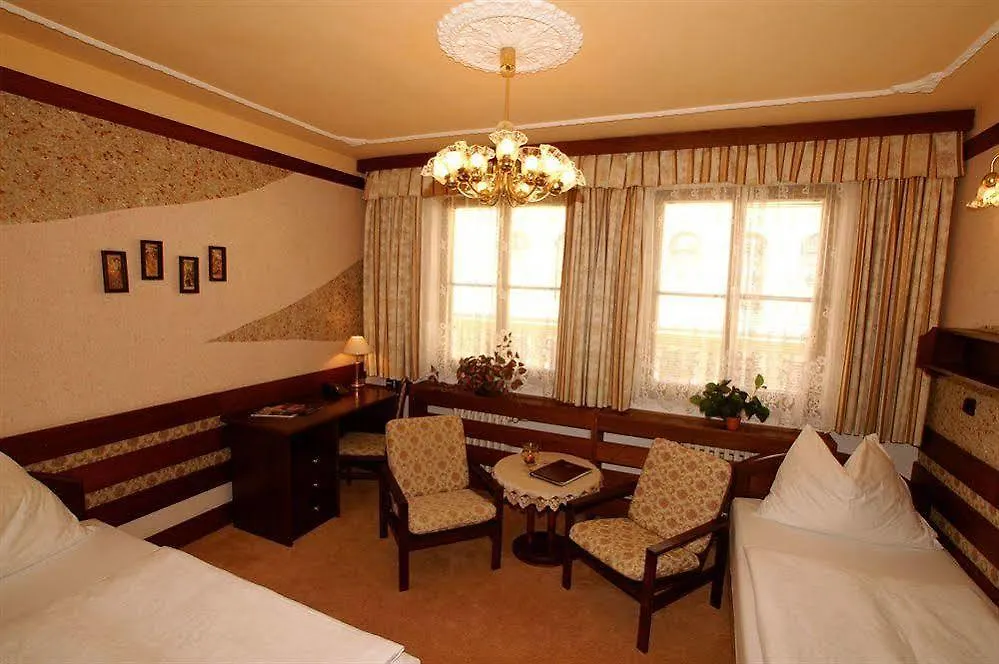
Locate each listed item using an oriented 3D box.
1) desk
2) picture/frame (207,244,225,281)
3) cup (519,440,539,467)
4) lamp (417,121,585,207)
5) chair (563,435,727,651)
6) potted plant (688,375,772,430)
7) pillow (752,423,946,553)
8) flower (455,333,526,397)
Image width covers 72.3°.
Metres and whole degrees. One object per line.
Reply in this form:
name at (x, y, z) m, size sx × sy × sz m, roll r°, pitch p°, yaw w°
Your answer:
desk at (-1.822, 0.888, 6.754) m, size 1.047 × 1.291 × 2.107 m, roll 4°, pitch 7°, yaw 22°
picture/frame at (-2.640, -0.639, 6.416) m, size 0.036 × 0.339 × 0.198 m, roll 6°, pitch 9°, yaw 38°
cup at (0.285, 1.140, 6.358) m, size 0.174 × 0.190 × 0.174 m, roll 1°, pitch 4°, yaw 0°
lamp at (0.124, -1.169, 5.269) m, size 0.941 × 0.500 × 0.929 m, roll 1°, pitch 1°, yaw 12°
chair at (1.380, 1.613, 6.204) m, size 1.638 × 1.682 × 1.259 m, roll 0°, pitch 3°, yaw -37°
potted plant at (2.180, 0.666, 6.437) m, size 0.518 × 0.399 × 0.594 m, roll -2°, pitch -9°, yaw 32°
pillow at (2.797, 1.332, 5.561) m, size 1.137 × 0.836 × 0.366 m, roll 1°, pitch -29°, yaw 24°
flower at (-0.081, 0.377, 7.278) m, size 0.658 × 0.574 × 0.693 m, roll 0°, pitch 4°, yaw 4°
